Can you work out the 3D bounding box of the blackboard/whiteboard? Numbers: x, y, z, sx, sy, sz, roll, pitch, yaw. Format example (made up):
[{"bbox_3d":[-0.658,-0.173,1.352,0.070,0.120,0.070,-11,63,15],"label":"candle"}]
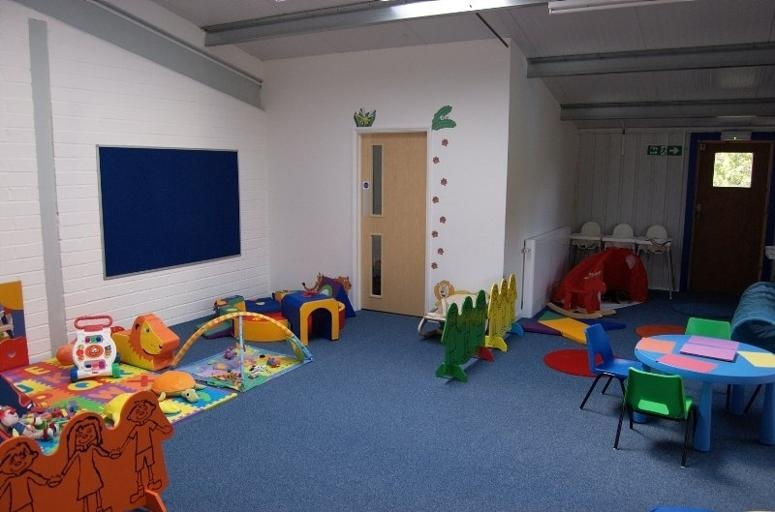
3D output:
[{"bbox_3d":[-2.954,-0.676,6.744,2.226,1.678,0.043,-2,2,10],"label":"blackboard/whiteboard"}]

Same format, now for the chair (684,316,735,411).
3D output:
[{"bbox_3d":[3.257,0.913,4.936,0.476,0.447,0.386,6,11,38],"label":"chair"}]

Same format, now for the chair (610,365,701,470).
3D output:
[{"bbox_3d":[2.383,1.329,4.316,0.542,0.779,0.550,5,12,32],"label":"chair"}]

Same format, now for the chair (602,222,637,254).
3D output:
[{"bbox_3d":[4.585,-0.382,9.524,0.617,0.776,0.569,4,6,39],"label":"chair"}]

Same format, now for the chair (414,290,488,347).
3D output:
[{"bbox_3d":[0.883,0.766,6.536,0.761,0.462,0.834,-7,7,42],"label":"chair"}]

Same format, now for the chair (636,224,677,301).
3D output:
[{"bbox_3d":[5.233,0.059,9.524,0.689,1.268,0.700,7,11,29],"label":"chair"}]

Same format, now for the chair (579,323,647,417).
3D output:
[{"bbox_3d":[2.259,1.103,4.785,0.670,0.749,0.658,-2,6,15],"label":"chair"}]
